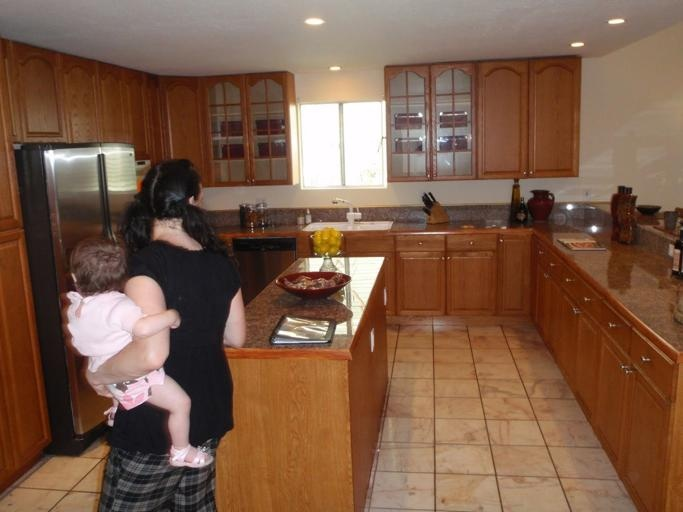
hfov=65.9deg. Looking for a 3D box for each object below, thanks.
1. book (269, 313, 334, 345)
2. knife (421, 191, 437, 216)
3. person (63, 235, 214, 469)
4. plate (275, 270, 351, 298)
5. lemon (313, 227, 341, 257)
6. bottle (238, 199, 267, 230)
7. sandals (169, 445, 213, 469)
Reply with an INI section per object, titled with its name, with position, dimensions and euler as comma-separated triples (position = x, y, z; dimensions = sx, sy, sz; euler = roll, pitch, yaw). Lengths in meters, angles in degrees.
[book]
position = -0.183, 0.367, 2.650
dimensions = 0.306, 0.053, 0.307
euler = -1, 13, 6
[knife]
position = 0.951, -0.604, 5.852
dimensions = 0.165, 0.064, 0.265
euler = 10, 53, -10
[person]
position = -0.838, 0.414, 2.100
dimensions = 0.537, 0.966, 0.237
euler = 3, 15, 20
[plate]
position = -0.178, 0.180, 3.327
dimensions = 0.460, 0.103, 0.510
euler = -4, 13, -8
[lemon]
position = -0.103, -0.096, 3.800
dimensions = 0.210, 0.186, 0.203
euler = 1, 3, -9
[bottle]
position = -0.944, -0.463, 6.159
dimensions = 0.425, 0.386, 0.234
euler = 1, 6, 6
[sandals]
position = -0.607, 0.801, 2.137
dimensions = 0.163, 0.069, 0.085
euler = 2, 6, -11
